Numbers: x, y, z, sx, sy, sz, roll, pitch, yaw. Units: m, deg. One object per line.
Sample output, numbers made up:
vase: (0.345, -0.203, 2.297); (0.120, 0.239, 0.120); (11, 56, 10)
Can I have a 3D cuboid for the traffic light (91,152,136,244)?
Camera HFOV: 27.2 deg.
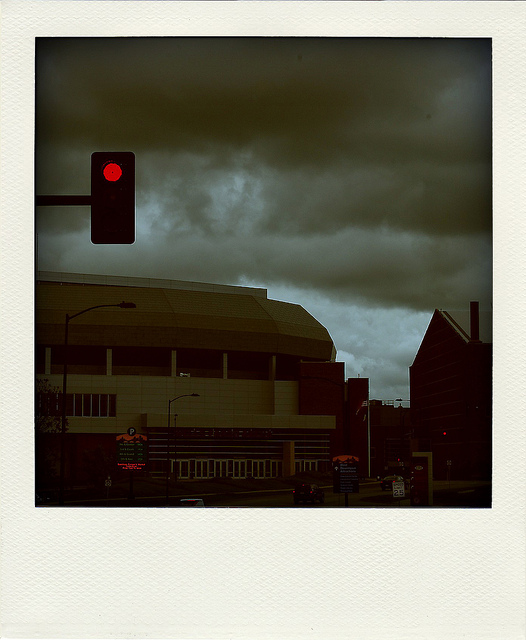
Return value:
traffic light: (-1.113, -0.895, 8.023); (0.326, 0.678, 0.232); (-2, -10, -8)
